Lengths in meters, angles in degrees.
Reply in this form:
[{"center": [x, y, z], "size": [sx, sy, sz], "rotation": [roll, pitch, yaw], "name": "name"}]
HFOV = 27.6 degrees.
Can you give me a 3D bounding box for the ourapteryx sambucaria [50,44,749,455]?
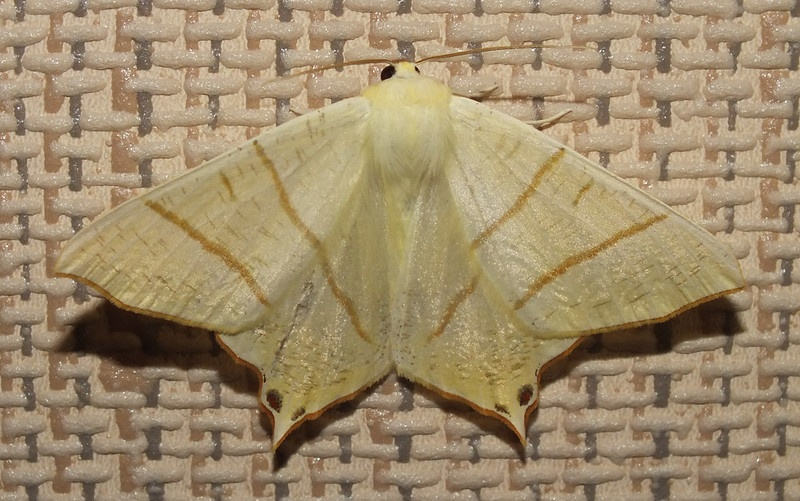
[{"center": [0.024, -0.014, 2.239], "size": [0.894, 0.195, 0.486], "rotation": [2, 82, -4], "name": "ourapteryx sambucaria"}]
